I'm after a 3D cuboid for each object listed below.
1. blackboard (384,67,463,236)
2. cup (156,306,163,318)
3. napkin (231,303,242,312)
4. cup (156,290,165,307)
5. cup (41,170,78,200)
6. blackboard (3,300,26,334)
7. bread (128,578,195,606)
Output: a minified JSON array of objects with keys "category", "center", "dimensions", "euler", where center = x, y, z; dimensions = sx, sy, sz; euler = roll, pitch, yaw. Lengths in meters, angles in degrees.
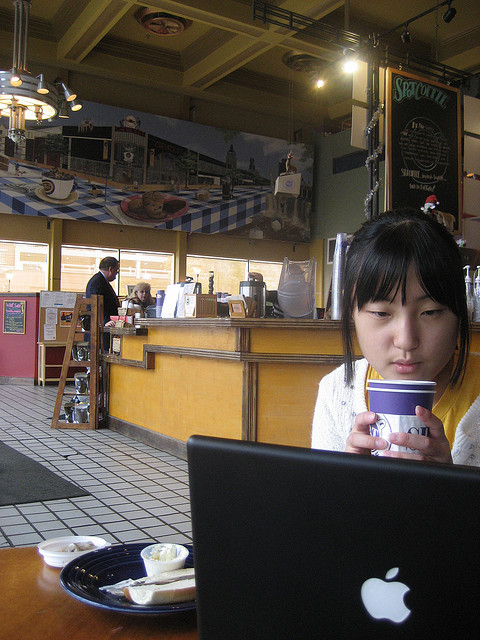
[{"category":"blackboard","center":[1.560,-1.409,4.427],"dimensions":[1.028,1.314,0.043],"euler":[-2,1,-36]},{"category":"cup","center":[-0.719,-0.066,4.663],"dimensions":[0.045,0.097,0.264],"euler":[2,2,-12]},{"category":"napkin","center":[-0.026,-0.077,3.511],"dimensions":[0.059,0.053,0.015],"euler":[-1,-8,4]},{"category":"cup","center":[-0.725,-0.187,4.763],"dimensions":[0.070,0.152,0.227],"euler":[2,2,-9]},{"category":"cup","center":[-3.181,-2.356,9.214],"dimensions":[0.516,0.327,0.421],"euler":[2,12,-31]},{"category":"blackboard","center":[-3.652,-0.055,8.499],"dimensions":[0.542,0.714,0.076],"euler":[3,2,14]},{"category":"bread","center":[-0.094,0.332,0.641],"dimensions":[0.083,0.022,0.041],"euler":[1,2,-23]}]
